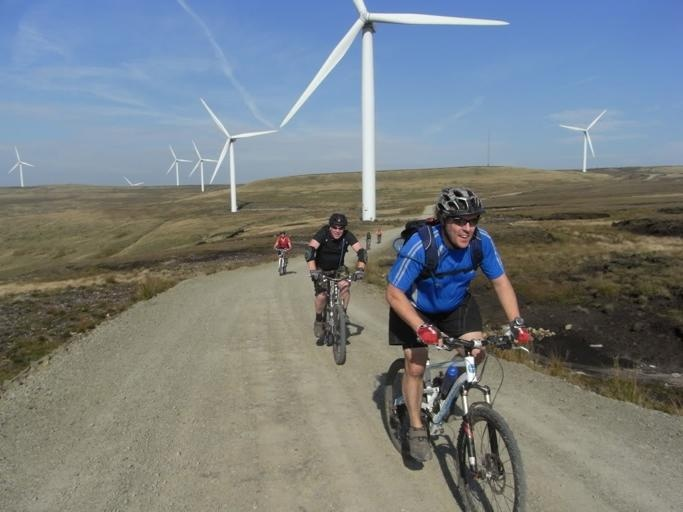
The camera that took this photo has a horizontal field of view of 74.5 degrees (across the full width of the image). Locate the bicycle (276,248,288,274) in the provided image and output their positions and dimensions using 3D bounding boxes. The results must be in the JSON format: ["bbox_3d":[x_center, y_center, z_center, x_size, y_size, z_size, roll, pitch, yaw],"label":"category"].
[{"bbox_3d":[-3.078,0.260,23.320,0.403,1.244,0.912,-2,10,-12],"label":"bicycle"}]

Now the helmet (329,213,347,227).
[{"bbox_3d":[-0.067,-0.790,9.744,0.266,0.311,0.355,1,-2,-9],"label":"helmet"}]

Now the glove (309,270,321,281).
[{"bbox_3d":[-0.592,0.407,10.057,0.278,0.265,0.100,0,3,0],"label":"glove"}]

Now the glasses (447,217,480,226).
[{"bbox_3d":[1.405,-0.398,5.093,0.363,0.096,0.133,-3,9,-21],"label":"glasses"}]

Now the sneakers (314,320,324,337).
[{"bbox_3d":[-0.546,1.728,10.806,0.195,0.388,0.163,-3,1,-16],"label":"sneakers"}]

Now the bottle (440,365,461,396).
[{"bbox_3d":[1.278,1.432,5.229,0.181,0.590,0.124,11,36,4],"label":"bottle"}]

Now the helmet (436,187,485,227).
[{"bbox_3d":[1.363,-0.560,5.232,0.482,0.481,0.537,-12,12,-41],"label":"helmet"}]
